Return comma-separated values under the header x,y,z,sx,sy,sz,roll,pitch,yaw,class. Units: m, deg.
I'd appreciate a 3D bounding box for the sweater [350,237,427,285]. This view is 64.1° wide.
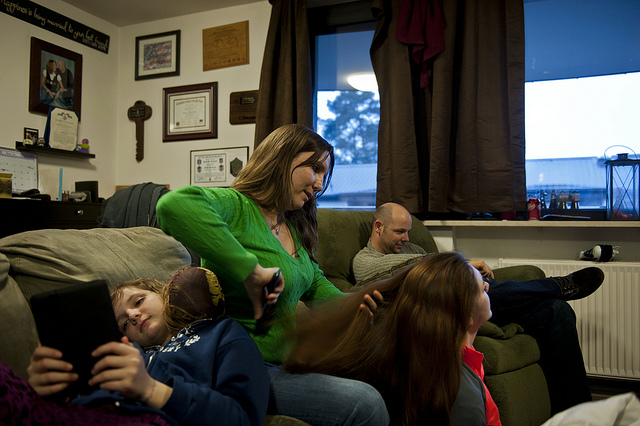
x,y,z,sx,sy,sz,roll,pitch,yaw,class
0.429,0.329,3.385,0.478,0.289,0.572,0,2,5,sweater

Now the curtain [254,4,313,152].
x,y,z,sx,sy,sz,roll,pitch,yaw,class
-0.312,-1.156,4.232,0.473,1.167,0.227,0,2,-8,curtain

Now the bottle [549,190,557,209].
x,y,z,sx,sy,sz,roll,pitch,yaw,class
1.797,-0.106,3.948,0.052,0.144,0.161,1,2,24,bottle

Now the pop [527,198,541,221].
x,y,z,sx,sy,sz,roll,pitch,yaw,class
1.620,-0.032,3.847,0.174,0.159,0.071,-2,3,-36,pop

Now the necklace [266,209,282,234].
x,y,z,sx,sy,sz,roll,pitch,yaw,class
-0.227,0.039,2.422,0.014,0.128,0.021,-35,10,-24,necklace

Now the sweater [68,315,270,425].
x,y,z,sx,sy,sz,roll,pitch,yaw,class
-0.472,0.650,2.100,0.499,0.392,0.326,-1,2,-16,sweater

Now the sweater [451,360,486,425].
x,y,z,sx,sy,sz,roll,pitch,yaw,class
0.623,0.775,2.192,0.148,0.244,0.102,0,2,-5,sweater

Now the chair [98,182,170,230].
x,y,z,sx,sy,sz,roll,pitch,yaw,class
-1.261,-0.043,3.443,0.257,0.347,0.118,10,-14,18,chair
